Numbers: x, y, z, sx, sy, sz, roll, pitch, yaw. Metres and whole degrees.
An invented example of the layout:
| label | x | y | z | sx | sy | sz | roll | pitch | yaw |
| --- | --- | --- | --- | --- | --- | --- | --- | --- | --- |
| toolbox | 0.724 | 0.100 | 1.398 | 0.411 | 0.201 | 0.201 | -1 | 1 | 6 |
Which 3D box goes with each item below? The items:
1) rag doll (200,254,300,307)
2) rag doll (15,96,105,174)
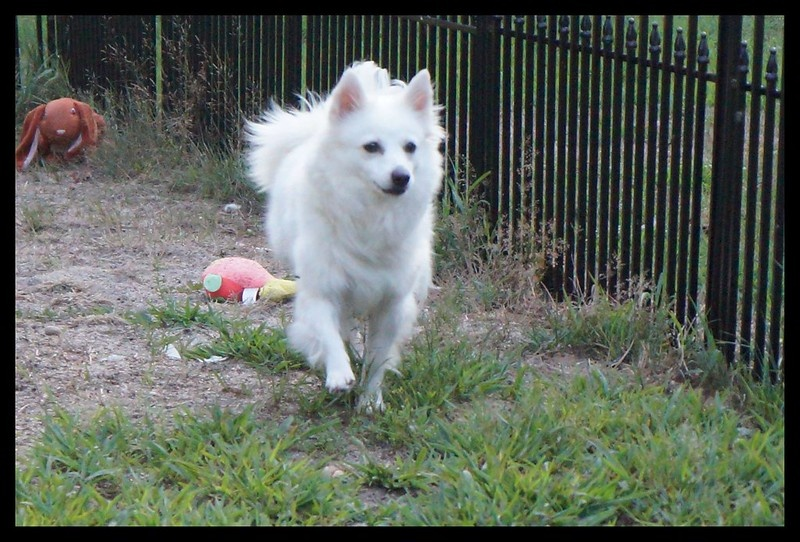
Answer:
| label | x | y | z | sx | sy | sz | roll | pitch | yaw |
| --- | --- | --- | --- | --- | --- | --- | --- | --- | --- |
| rag doll | -1.358 | 0.096 | 7.477 | 0.740 | 0.346 | 0.477 | 8 | -1 | 5 |
| rag doll | -4.789 | -1.920 | 11.546 | 1.139 | 0.746 | 1.894 | -6 | 14 | -18 |
